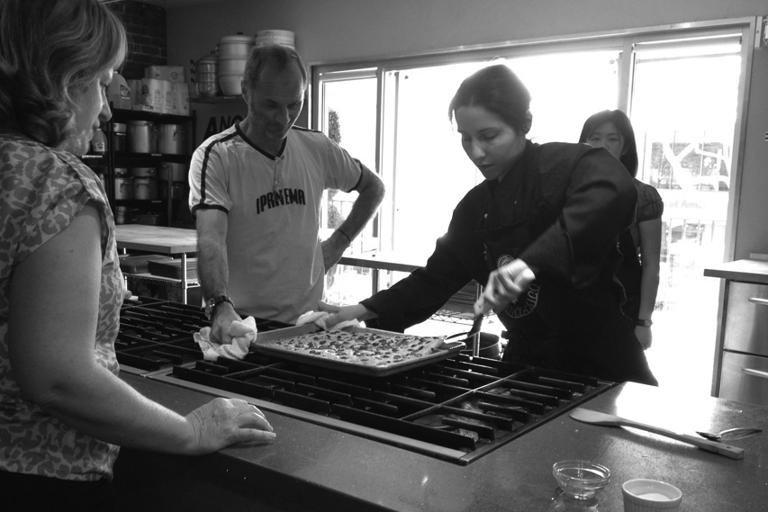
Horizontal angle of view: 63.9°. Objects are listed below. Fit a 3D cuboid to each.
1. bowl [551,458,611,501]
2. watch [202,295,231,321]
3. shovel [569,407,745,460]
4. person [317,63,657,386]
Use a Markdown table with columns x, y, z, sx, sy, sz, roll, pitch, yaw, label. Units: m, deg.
| x | y | z | sx | sy | sz | roll | pitch | yaw | label |
| --- | --- | --- | --- | --- | --- | --- | --- | --- | --- |
| 0.403 | 0.452 | 1.262 | 0.081 | 0.034 | 0.081 | 4 | 0 | 0 | bowl |
| -0.594 | 0.185 | 2.167 | 0.076 | 0.046 | 0.095 | -1 | -16 | -45 | watch |
| 0.647 | 0.382 | 1.482 | 0.372 | 0.037 | 0.122 | 6 | 7 | 31 | shovel |
| 0.493 | -0.055 | 1.990 | 0.787 | 1.099 | 0.539 | 6 | 15 | 24 | person |
